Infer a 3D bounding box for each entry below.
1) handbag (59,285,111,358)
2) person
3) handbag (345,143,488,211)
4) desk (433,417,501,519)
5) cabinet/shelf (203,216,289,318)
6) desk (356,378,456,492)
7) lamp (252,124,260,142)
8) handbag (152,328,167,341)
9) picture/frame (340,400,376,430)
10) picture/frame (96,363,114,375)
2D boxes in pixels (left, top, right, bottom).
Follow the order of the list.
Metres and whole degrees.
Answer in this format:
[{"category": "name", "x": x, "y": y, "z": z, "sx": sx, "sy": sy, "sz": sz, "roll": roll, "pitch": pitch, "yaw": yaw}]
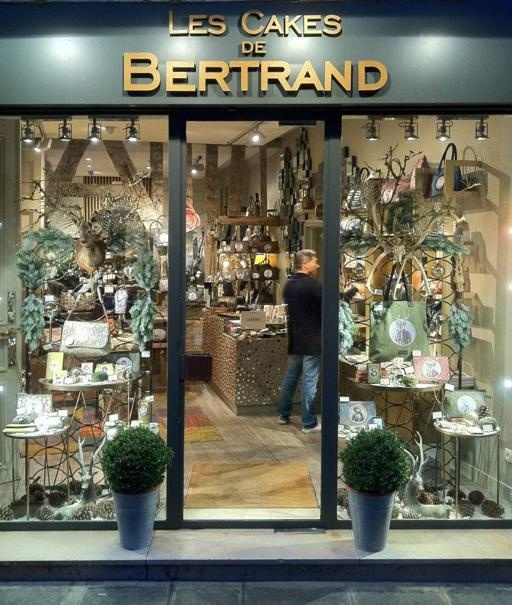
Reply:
[{"category": "handbag", "x": -1.103, "y": 0.137, "z": 3.624, "sx": 0.411, "sy": 0.582, "sz": 0.204, "roll": 1, "pitch": -7, "yaw": -2}, {"category": "person", "x": 0.330, "y": 0.308, "z": 4.088, "sx": 0.275, "sy": 0.931, "sz": 0.905, "roll": 1, "pitch": 1, "yaw": 0}, {"category": "handbag", "x": 1.062, "y": -0.806, "z": 3.670, "sx": 1.006, "sy": 0.366, "sz": 0.149, "roll": 0, "pitch": 1, "yaw": -16}, {"category": "desk", "x": 1.355, "y": 1.092, "z": 3.663, "sx": 0.455, "sy": 0.585, "sz": 0.472, "roll": 0, "pitch": 0, "yaw": -22}, {"category": "cabinet/shelf", "x": -0.118, "y": -0.431, "z": 6.115, "sx": 1.104, "sy": 1.582, "sz": 0.927, "roll": 0, "pitch": -4, "yaw": -4}, {"category": "desk", "x": 0.917, "y": 0.878, "z": 3.951, "sx": 0.657, "sy": 0.770, "sz": 0.677, "roll": 0, "pitch": -4, "yaw": 0}, {"category": "lamp", "x": 0.006, "y": -1.238, "z": 4.187, "sx": 0.062, "sy": 0.123, "sz": 0.051, "roll": 5, "pitch": 3, "yaw": 34}, {"category": "handbag", "x": -0.619, "y": 0.208, "z": 3.607, "sx": 0.064, "sy": 0.034, "sz": 0.095, "roll": 2, "pitch": 33, "yaw": -3}, {"category": "picture/frame", "x": 0.637, "y": 0.721, "z": 3.585, "sx": 0.175, "sy": 0.133, "sz": 0.024, "roll": 1, "pitch": -4, "yaw": -3}, {"category": "picture/frame", "x": -0.971, "y": 0.429, "z": 3.615, "sx": 0.070, "sy": 0.061, "sz": 0.024, "roll": 1, "pitch": -12, "yaw": -8}]
